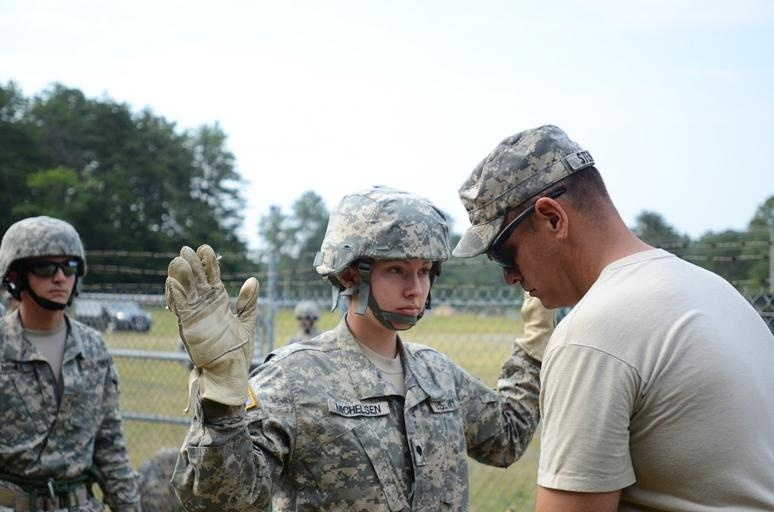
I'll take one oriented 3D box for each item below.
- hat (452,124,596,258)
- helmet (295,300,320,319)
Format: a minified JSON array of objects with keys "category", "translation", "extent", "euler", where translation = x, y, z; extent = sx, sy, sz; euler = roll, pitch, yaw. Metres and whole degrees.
[{"category":"hat","translation":[0.898,-0.456,8.423],"extent":[1.081,0.592,0.745],"euler":[-33,-2,14]},{"category":"helmet","translation":[-0.764,0.523,12.217],"extent":[0.196,0.237,0.252],"euler":[2,0,-25]}]
